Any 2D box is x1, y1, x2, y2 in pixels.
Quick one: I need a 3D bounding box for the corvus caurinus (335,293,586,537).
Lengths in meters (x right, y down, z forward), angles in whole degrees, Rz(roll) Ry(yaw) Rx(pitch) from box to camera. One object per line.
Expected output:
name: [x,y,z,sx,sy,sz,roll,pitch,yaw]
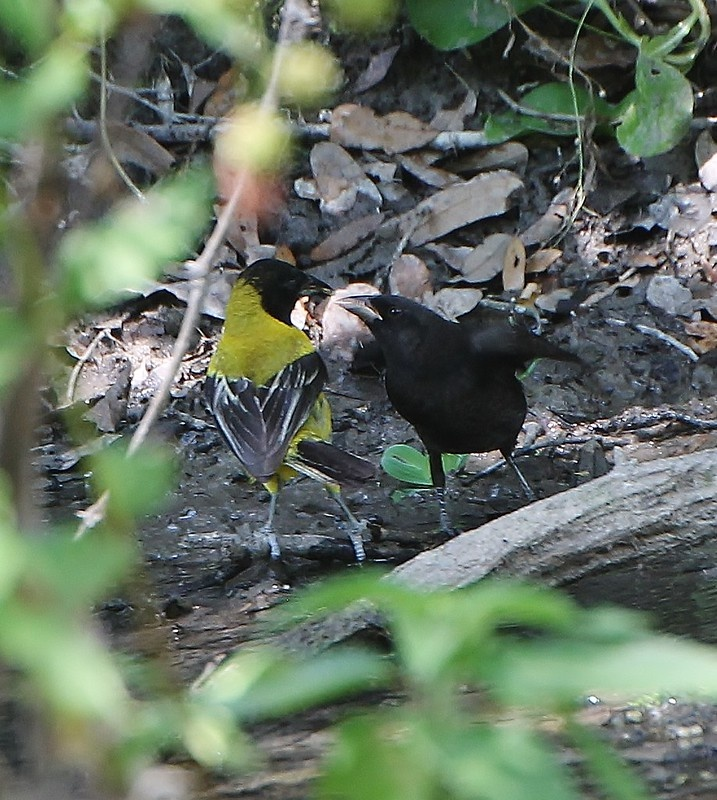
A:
corvus caurinus: [0.170,-0.022,2.601,0.497,0.479,0.615,-6,22,-7]
